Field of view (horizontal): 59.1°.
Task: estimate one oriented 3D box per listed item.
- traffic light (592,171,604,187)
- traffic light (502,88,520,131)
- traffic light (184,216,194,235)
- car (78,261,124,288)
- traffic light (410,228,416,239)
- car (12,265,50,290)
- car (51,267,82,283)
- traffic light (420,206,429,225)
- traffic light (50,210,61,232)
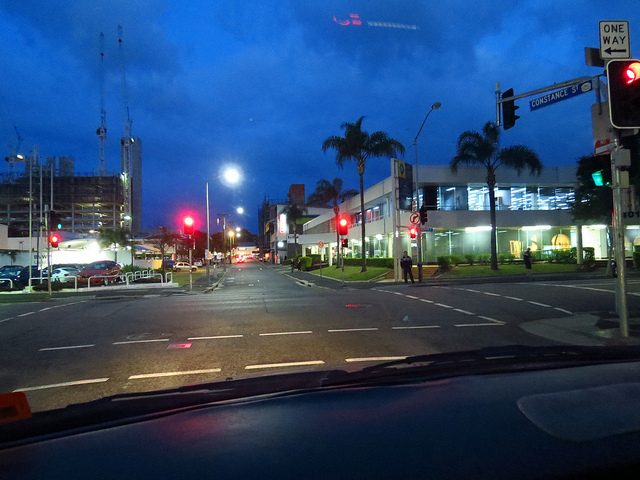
[{"bbox_3d":[6.203,-1.361,12.574,0.234,0.325,0.281,4,4,37],"label":"traffic light"},{"bbox_3d":[5.015,-3.465,14.832,0.389,1.191,1.559,-1,-1,18],"label":"traffic light"},{"bbox_3d":[-5.945,-0.679,25.483,0.400,0.837,0.548,-1,-1,-22],"label":"traffic light"},{"bbox_3d":[-13.354,1.999,33.821,1.301,1.132,3.022,-2,-6,5],"label":"car"},{"bbox_3d":[4.769,-0.396,28.956,0.286,0.463,0.492,-1,-1,8],"label":"traffic light"},{"bbox_3d":[-16.249,2.105,31.629,2.217,1.225,1.335,0,-2,22],"label":"car"},{"bbox_3d":[-14.628,1.960,32.860,2.808,0.932,1.298,1,0,41],"label":"car"},{"bbox_3d":[5.151,-1.281,28.230,0.302,0.889,1.155,-1,-1,9],"label":"traffic light"},{"bbox_3d":[-11.191,-0.838,23.820,0.406,0.778,1.082,-1,-1,-27],"label":"traffic light"}]
